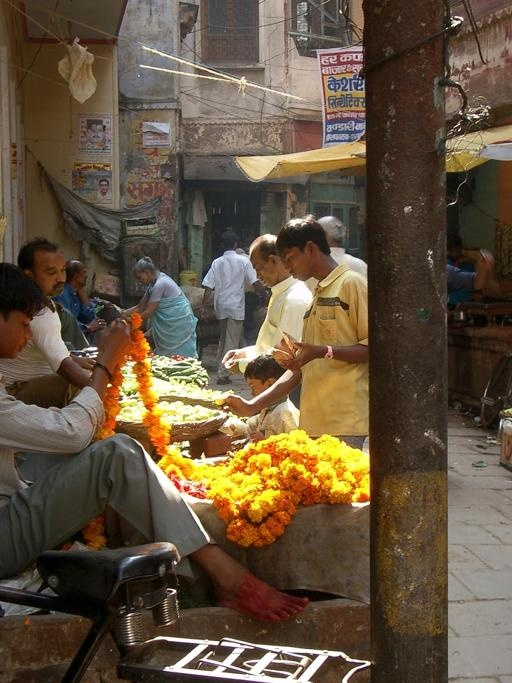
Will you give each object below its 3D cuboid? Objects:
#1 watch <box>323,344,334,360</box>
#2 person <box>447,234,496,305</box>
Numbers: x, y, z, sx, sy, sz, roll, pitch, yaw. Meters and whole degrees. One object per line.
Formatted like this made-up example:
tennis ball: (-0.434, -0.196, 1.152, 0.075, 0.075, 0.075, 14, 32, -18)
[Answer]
watch: (0.364, 0.046, 3.359, 0.049, 0.060, 0.067, -3, -6, 2)
person: (2.771, -0.926, 8.776, 0.574, 0.869, 0.877, 3, 4, 15)
